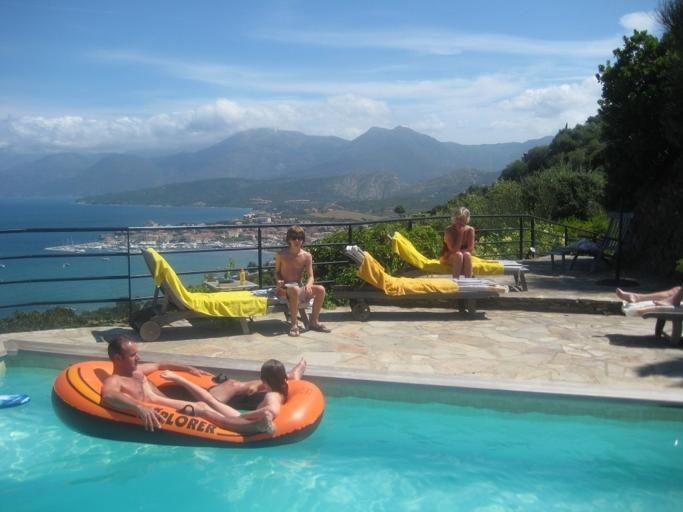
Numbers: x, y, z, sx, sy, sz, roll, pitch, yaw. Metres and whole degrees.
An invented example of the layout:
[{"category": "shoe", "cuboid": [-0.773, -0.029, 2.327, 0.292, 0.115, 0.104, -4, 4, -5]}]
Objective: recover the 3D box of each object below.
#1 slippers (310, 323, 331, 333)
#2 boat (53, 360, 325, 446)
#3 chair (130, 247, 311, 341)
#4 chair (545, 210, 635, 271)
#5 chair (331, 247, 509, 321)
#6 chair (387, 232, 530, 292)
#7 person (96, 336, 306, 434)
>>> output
[{"category": "slippers", "cuboid": [-0.289, 0.973, 6.996, 0.233, 0.076, 0.118, 7, 3, -7]}, {"category": "boat", "cuboid": [-1.415, 1.441, 4.695, 1.754, 0.381, 0.984, 2, -1, -2]}, {"category": "chair", "cuboid": [-1.689, 0.406, 6.995, 1.855, 0.848, 1.264, -2, 5, -17]}, {"category": "chair", "cuboid": [5.902, -0.390, 11.520, 2.205, 1.399, 1.299, -2, 3, -11]}, {"category": "chair", "cuboid": [1.076, 0.343, 7.873, 2.097, 0.829, 1.229, -1, 5, 0]}, {"category": "chair", "cuboid": [1.884, 0.091, 8.715, 2.064, 0.767, 1.091, 0, 8, -4]}, {"category": "person", "cuboid": [-1.332, 1.273, 4.732, 1.138, 0.413, 1.069, 5, 1, 2]}]
